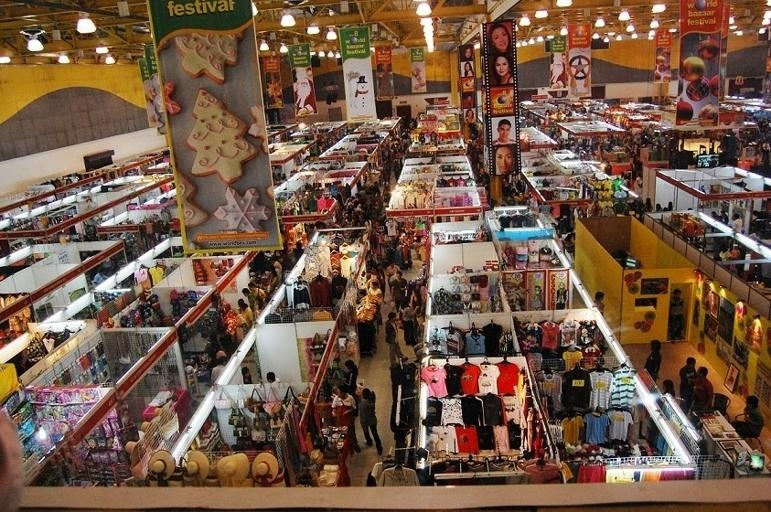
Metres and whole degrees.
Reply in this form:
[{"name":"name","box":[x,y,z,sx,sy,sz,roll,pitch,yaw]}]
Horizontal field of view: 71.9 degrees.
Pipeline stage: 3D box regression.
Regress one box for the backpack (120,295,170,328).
[{"name":"backpack","box":[-4.995,1.186,10.996,0.605,0.258,0.845,-1,8,-5]}]

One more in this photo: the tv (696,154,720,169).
[{"name":"tv","box":[9.066,-2.649,14.964,0.669,0.429,0.361,1,4,11]}]

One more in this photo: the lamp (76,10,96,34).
[{"name":"lamp","box":[-5.573,-4.323,9.810,0.240,0.359,0.880,-15,24,-25]}]

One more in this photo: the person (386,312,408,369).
[{"name":"person","box":[0.215,1.685,10.396,0.409,1.112,0.406,-7,52,3]}]

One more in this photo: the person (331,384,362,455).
[{"name":"person","box":[-0.647,2.568,8.338,0.378,1.191,0.609,-7,22,-5]}]

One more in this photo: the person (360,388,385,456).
[{"name":"person","box":[-0.259,2.584,8.457,0.308,1.087,0.742,-6,22,-4]}]

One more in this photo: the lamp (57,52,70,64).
[{"name":"lamp","box":[-11.970,-7.326,19.710,0.288,0.312,3.756,-16,24,-26]}]
